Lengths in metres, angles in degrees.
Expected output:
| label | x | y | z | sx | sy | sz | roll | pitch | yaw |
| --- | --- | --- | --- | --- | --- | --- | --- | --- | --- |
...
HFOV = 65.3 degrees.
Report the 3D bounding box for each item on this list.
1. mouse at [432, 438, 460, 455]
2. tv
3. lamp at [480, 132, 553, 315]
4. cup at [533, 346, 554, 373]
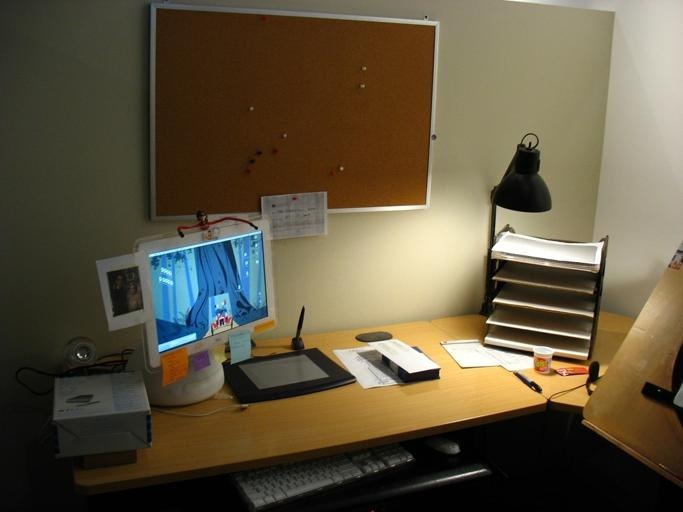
| label | x | y | z | sx | sy | sz | roll | pitch | yaw |
| --- | --- | --- | --- | --- | --- | --- | --- | --- | --- |
| mouse | 0.374 | 0.688 | 1.923 | 0.098 | 0.035 | 0.047 | 1 | 5 | 44 |
| tv | -0.506 | 0.203 | 1.915 | 0.561 | 0.647 | 0.309 | -9 | 17 | -43 |
| lamp | 0.794 | -0.120 | 2.474 | 0.256 | 0.872 | 0.525 | 3 | 15 | 15 |
| cup | 0.793 | 0.414 | 2.116 | 0.083 | 0.089 | 0.087 | 1 | 12 | 0 |
